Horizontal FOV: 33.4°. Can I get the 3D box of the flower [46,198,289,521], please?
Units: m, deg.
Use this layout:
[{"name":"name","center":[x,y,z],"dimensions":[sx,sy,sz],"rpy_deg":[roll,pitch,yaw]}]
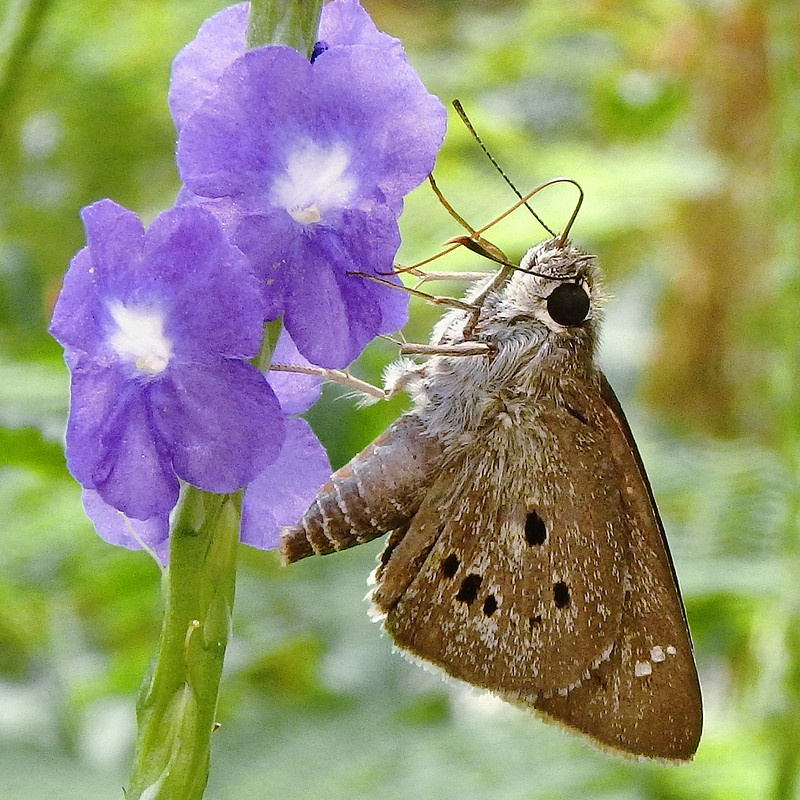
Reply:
[{"name":"flower","center":[-0.314,-0.061,1.784],"dimensions":[0.419,0.390,0.130],"rpy_deg":[5,7,-29]}]
